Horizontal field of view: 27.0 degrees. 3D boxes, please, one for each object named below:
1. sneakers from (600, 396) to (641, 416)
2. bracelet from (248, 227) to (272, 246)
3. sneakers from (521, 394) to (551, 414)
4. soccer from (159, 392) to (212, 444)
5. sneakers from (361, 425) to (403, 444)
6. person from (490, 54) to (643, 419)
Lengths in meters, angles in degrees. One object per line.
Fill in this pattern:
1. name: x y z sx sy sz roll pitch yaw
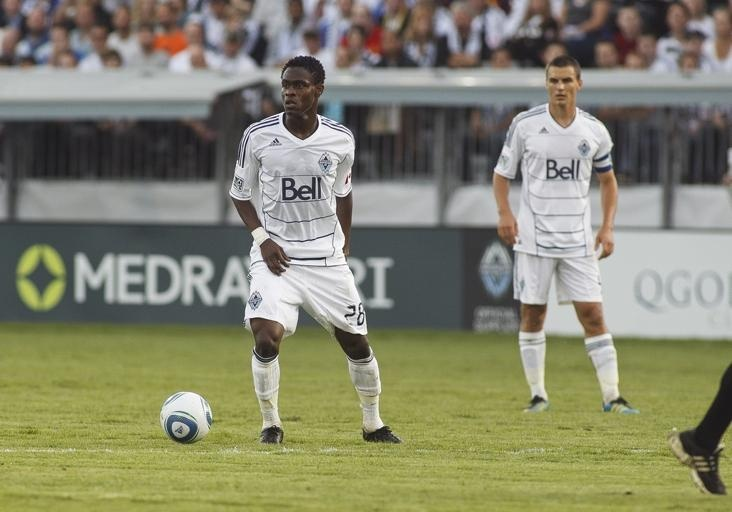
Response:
1. sneakers: 2.404 1.433 14.438 0.357 0.149 0.134 -2 -5 16
2. bracelet: -0.935 -0.180 13.390 0.158 0.159 0.154 -19 9 4
3. sneakers: 1.630 1.406 14.614 0.282 0.145 0.103 -13 24 -28
4. soccer: -1.581 1.447 13.473 0.439 0.437 0.418 16 -31 0
5. sneakers: 0.138 1.594 13.551 0.371 0.165 0.130 1 -1 6
6. person: 1.816 -0.200 14.437 1.212 3.344 0.610 1 12 5
